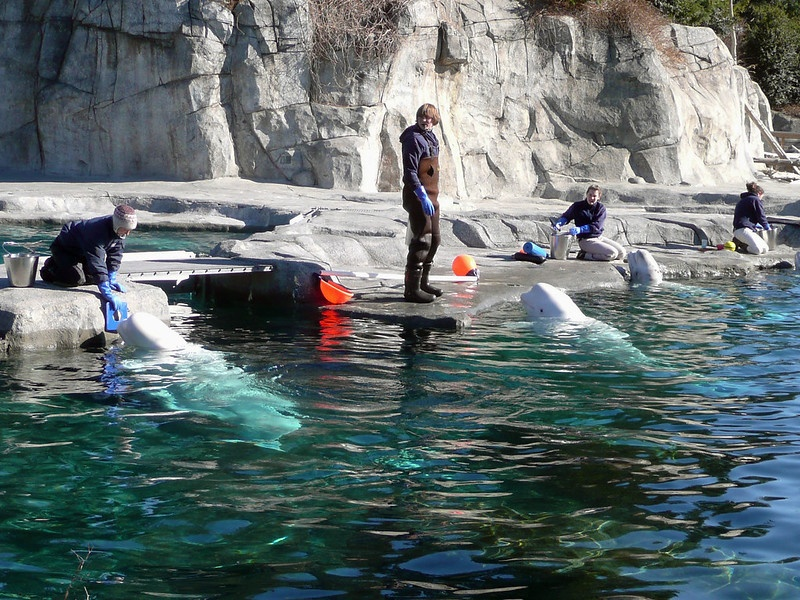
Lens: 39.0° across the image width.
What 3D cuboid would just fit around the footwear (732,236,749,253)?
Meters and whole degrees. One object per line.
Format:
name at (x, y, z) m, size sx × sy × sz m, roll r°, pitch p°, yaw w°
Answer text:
footwear at (4.649, -0.740, 15.438) m, size 0.273 × 0.066 × 0.198 m, roll 20°, pitch 4°, yaw -46°

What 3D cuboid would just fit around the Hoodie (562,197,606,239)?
Hoodie at (2.296, -0.981, 14.096) m, size 0.682 × 0.442 × 0.620 m, roll 5°, pitch 10°, yaw -8°

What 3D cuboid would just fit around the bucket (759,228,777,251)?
bucket at (5.133, -0.827, 15.649) m, size 0.371 × 0.271 × 0.331 m, roll 3°, pitch 16°, yaw 21°

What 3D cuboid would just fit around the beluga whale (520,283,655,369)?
beluga whale at (1.701, 0.244, 10.672) m, size 1.036 × 0.252 × 0.726 m, roll 20°, pitch 6°, yaw 43°

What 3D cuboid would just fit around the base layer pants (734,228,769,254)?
base layer pants at (4.809, -0.786, 15.299) m, size 0.348 × 0.164 × 0.502 m, roll -6°, pitch 20°, yaw -33°

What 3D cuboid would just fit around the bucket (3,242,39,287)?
bucket at (-3.371, -0.264, 10.176) m, size 0.285 × 0.317 × 0.287 m, roll -2°, pitch -1°, yaw 0°

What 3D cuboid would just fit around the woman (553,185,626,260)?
woman at (2.384, -0.928, 14.025) m, size 0.731 × 0.660 × 0.659 m, roll -2°, pitch -1°, yaw 13°

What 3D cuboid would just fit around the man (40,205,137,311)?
man at (-2.773, -0.458, 10.306) m, size 1.270 × 0.766 × 0.580 m, roll 18°, pitch 16°, yaw 40°

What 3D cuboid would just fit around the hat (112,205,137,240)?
hat at (-2.409, -0.682, 9.963) m, size 0.188 × 0.275 × 0.410 m, roll -2°, pitch -1°, yaw -15°

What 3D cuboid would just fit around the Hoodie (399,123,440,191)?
Hoodie at (0.175, -1.342, 10.787) m, size 0.268 × 0.666 × 0.391 m, roll -4°, pitch -2°, yaw 32°

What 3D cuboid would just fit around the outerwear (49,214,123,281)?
outerwear at (-2.726, -0.433, 10.135) m, size 0.413 × 0.584 × 0.581 m, roll -1°, pitch -2°, yaw -45°

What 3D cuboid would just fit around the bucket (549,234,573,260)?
bucket at (1.965, -0.650, 13.928) m, size 0.403 × 0.235 × 0.333 m, roll 3°, pitch 2°, yaw -6°

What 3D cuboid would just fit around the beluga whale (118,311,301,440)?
beluga whale at (-1.449, 0.608, 9.057) m, size 1.571 × 0.317 × 0.900 m, roll 18°, pitch 19°, yaw 33°

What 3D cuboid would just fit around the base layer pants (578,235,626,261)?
base layer pants at (2.582, -0.637, 14.109) m, size 0.555 × 0.217 × 0.343 m, roll 1°, pitch 8°, yaw 27°
